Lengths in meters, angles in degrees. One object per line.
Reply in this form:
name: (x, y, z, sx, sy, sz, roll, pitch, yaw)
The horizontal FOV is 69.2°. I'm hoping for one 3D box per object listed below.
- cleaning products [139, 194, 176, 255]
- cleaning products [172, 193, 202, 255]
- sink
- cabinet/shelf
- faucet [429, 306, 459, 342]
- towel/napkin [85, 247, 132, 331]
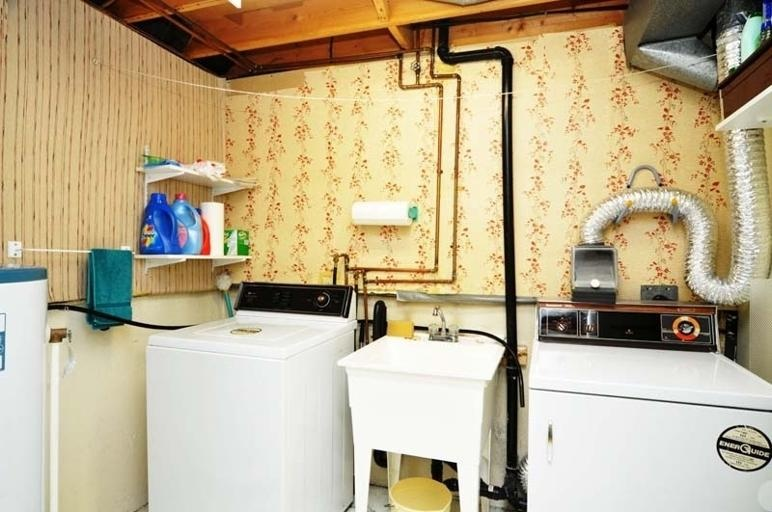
cleaning products: (-1.506, -0.208, 3.741, 0.255, 0.409, 0.136, 2, -2, -14)
cleaning products: (-1.347, -0.211, 3.822, 0.216, 0.409, 0.127, 2, -2, -21)
sink: (0.279, 0.692, 3.432, 0.804, 0.486, 0.806, 0, 1, 23)
cabinet/shelf: (-1.341, -0.328, 3.969, 0.377, 0.840, 0.889, -3, -5, 17)
faucet: (0.399, 0.452, 3.835, 0.248, 0.248, 0.201, -1, -14, 8)
towel/napkin: (-1.700, 0.173, 3.466, 0.256, 0.433, 0.114, 3, -2, -29)
